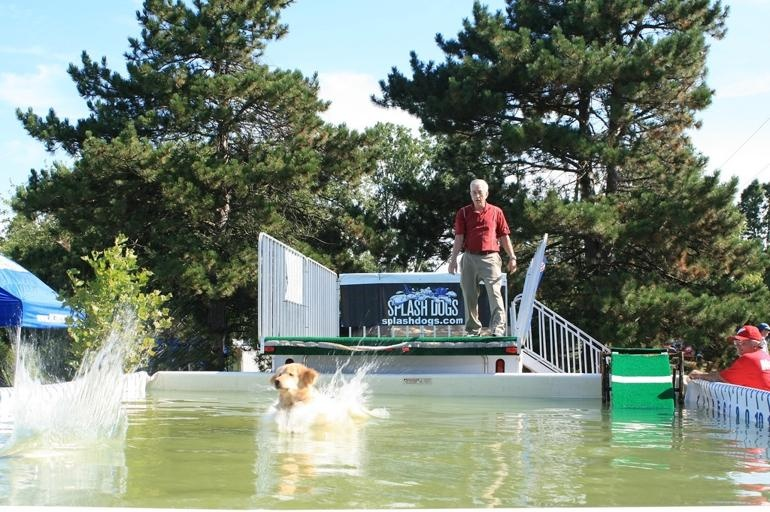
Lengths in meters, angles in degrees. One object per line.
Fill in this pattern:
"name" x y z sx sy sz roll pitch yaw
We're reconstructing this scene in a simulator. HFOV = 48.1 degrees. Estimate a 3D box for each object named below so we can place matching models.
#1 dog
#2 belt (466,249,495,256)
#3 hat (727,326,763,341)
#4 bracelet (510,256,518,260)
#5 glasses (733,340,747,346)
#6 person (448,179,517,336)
"dog" -1.118 2.400 14.313 1.409 0.717 1.107 17 -21 -31
"belt" 1.869 -0.078 16.823 0.512 0.093 0.103 1 9 -1
"hat" 6.521 1.420 15.614 0.434 0.270 0.332 -2 -8 2
"bracelet" 2.792 0.034 18.915 0.115 0.081 0.113 0 5 -8
"glasses" 6.383 1.554 15.510 0.126 0.042 0.083 14 -14 -6
"person" 1.873 0.077 17.021 1.251 3.161 0.909 -1 9 -9
